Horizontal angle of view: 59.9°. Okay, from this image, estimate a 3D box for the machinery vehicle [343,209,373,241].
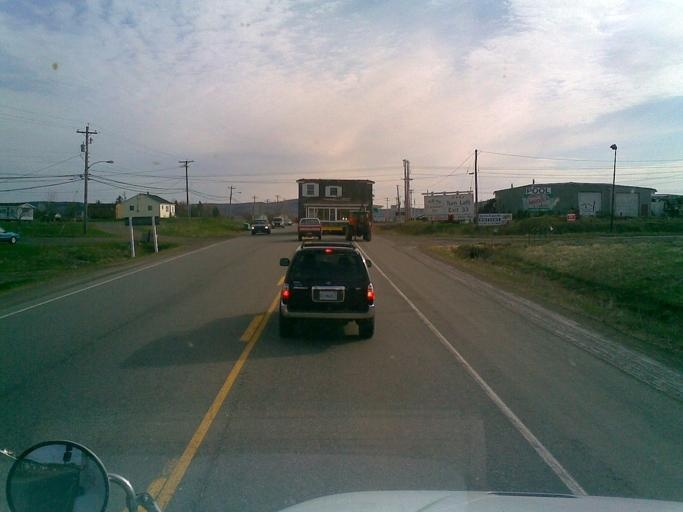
[{"bbox_3d":[1.091,-2.141,40.536,1.425,1.535,2.382,1,13,-4],"label":"machinery vehicle"}]

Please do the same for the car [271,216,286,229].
[{"bbox_3d":[-7.945,-4.131,74.399,1.426,1.272,2.099,-1,6,-12],"label":"car"}]
